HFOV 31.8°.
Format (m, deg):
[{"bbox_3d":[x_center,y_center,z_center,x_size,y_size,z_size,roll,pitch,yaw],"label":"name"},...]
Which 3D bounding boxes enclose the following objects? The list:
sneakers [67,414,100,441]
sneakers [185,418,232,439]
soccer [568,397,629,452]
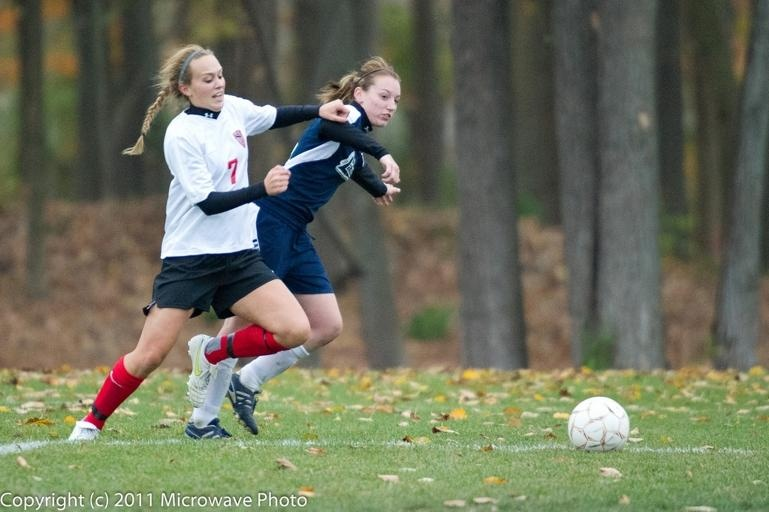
[{"bbox_3d":[-2.845,1.604,12.675,0.182,0.128,0.234,6,20,18],"label":"sneakers"},{"bbox_3d":[-1.701,1.649,12.948,0.478,0.230,0.174,6,1,-4],"label":"sneakers"},{"bbox_3d":[2.080,1.567,12.851,0.522,0.538,0.522,-7,11,-6],"label":"soccer"}]
